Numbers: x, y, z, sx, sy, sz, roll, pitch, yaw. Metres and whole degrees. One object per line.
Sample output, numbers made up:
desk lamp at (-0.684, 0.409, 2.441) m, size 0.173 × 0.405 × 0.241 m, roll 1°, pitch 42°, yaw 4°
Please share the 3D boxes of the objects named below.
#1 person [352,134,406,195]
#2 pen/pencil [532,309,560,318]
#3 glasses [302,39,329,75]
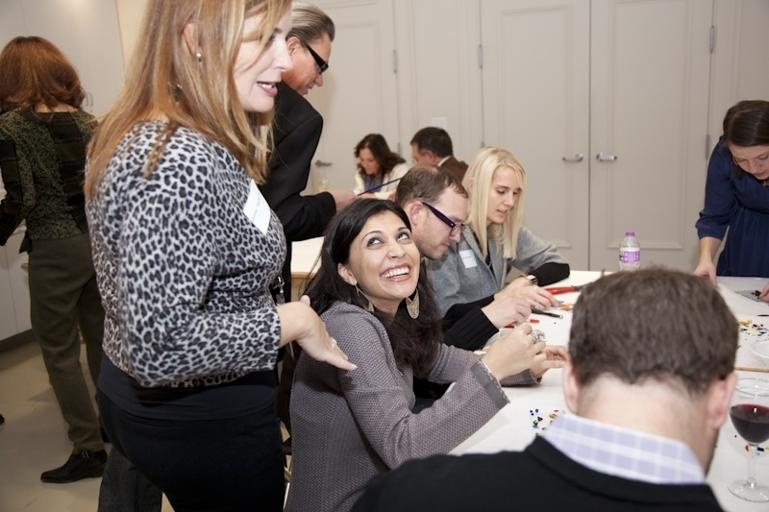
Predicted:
person at (-0.094, -0.793, 5.352) m, size 0.584 × 0.760 × 0.501 m, roll 4°, pitch 24°, yaw 4°
pen/pencil at (0.719, 0.260, 2.412) m, size 0.143 × 0.023 × 0.025 m, roll 6°, pitch -20°, yaw 9°
glasses at (-0.281, -0.816, 2.200) m, size 0.026 × 0.093 × 0.088 m, roll -30°, pitch -2°, yaw 8°
